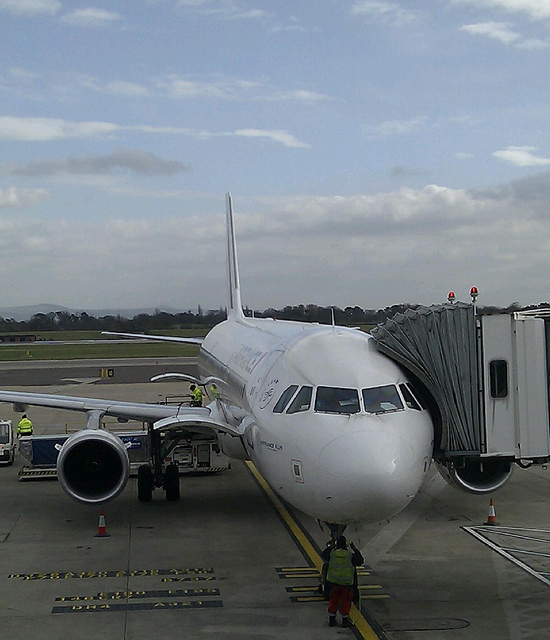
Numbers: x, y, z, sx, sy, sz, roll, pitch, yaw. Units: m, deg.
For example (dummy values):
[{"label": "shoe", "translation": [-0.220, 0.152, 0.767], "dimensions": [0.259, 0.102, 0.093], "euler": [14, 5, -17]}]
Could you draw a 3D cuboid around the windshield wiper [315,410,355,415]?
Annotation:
[{"label": "windshield wiper", "translation": [0.876, 1.366, 10.232], "dimensions": [0.592, 0.035, 0.060], "euler": [-1, -2, 28]}]

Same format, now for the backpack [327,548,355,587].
[{"label": "backpack", "translation": [0.917, 3.419, 9.625], "dimensions": [0.375, 0.479, 0.266], "euler": [0, -2, 5]}]
